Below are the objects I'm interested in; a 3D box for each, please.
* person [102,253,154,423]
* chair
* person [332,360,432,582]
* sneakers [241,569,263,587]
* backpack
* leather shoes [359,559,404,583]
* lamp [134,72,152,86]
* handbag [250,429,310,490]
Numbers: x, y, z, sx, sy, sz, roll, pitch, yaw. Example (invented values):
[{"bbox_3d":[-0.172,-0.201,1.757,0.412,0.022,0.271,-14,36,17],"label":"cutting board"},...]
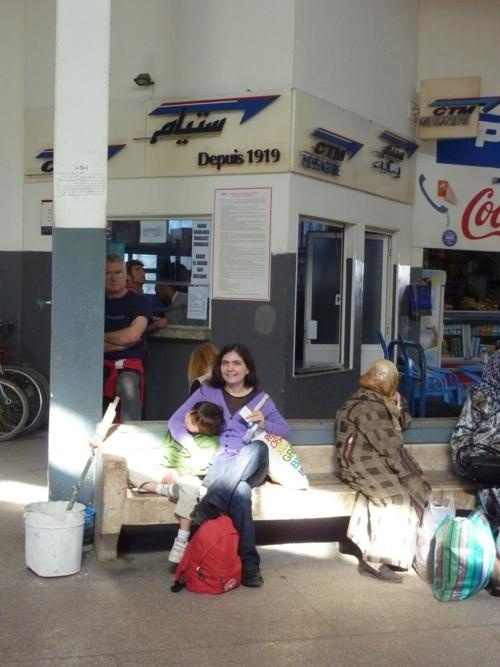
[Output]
[{"bbox_3d":[-1.070,0.053,6.032,0.411,1.083,0.660,3,1,-9],"label":"person"},{"bbox_3d":[2.034,0.501,8.019,1.045,0.762,0.988,-4,14,-11],"label":"chair"},{"bbox_3d":[0.816,0.774,4.213,0.501,1.143,0.691,3,1,-4],"label":"person"},{"bbox_3d":[0.015,1.312,3.804,0.052,0.096,0.156,2,2,45],"label":"sneakers"},{"bbox_3d":[-0.158,1.150,3.670,0.425,0.368,0.303,-1,-1,5],"label":"backpack"},{"bbox_3d":[0.751,1.319,3.969,0.155,0.056,0.126,11,-2,38],"label":"leather shoes"},{"bbox_3d":[-1.143,-2.687,7.442,0.236,0.102,0.112,3,1,21],"label":"lamp"},{"bbox_3d":[0.183,0.736,4.233,0.234,0.406,0.121,-33,2,-10],"label":"handbag"}]
